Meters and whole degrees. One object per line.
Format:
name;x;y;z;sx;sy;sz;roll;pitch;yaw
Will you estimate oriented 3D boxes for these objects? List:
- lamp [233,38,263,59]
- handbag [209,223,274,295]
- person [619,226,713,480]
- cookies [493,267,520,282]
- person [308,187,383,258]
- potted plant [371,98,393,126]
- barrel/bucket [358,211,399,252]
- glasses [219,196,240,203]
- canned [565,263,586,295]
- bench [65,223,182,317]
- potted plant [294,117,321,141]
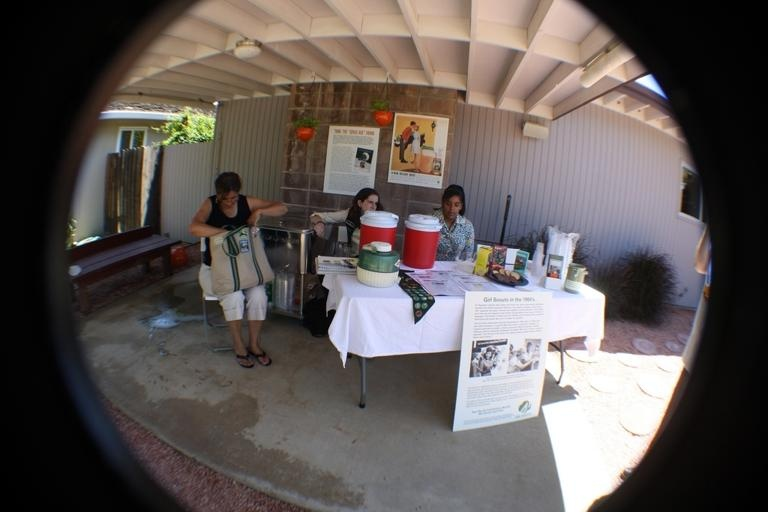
lamp;-1.322;-1.998;4.221;0.206;0.178;0.352;-2;13;-36
handbag;-1.039;0.023;3.148;0.497;0.506;0.222;-16;14;-38
person;1.994;0.570;3.270;0.253;1.707;0.288;0;26;-21
cookies;0.699;0.113;2.553;0.095;0.016;0.098;9;26;2
person;-0.348;-0.318;4.229;0.764;0.779;0.606;4;10;1
potted plant;-0.032;-1.566;4.847;0.260;0.331;0.256;0;9;0
barrel/bucket;-0.045;-0.165;2.627;0.227;0.227;0.207;3;13;-1
glasses;-1.114;-0.411;3.152;0.124;0.060;0.087;0;11;-28
canned;1.083;0.133;2.532;0.121;0.139;0.087;25;25;34
bench;-2.675;0.101;4.454;0.464;0.496;1.241;12;21;18
potted plant;-0.880;-1.435;5.105;0.270;0.295;0.269;0;7;0
